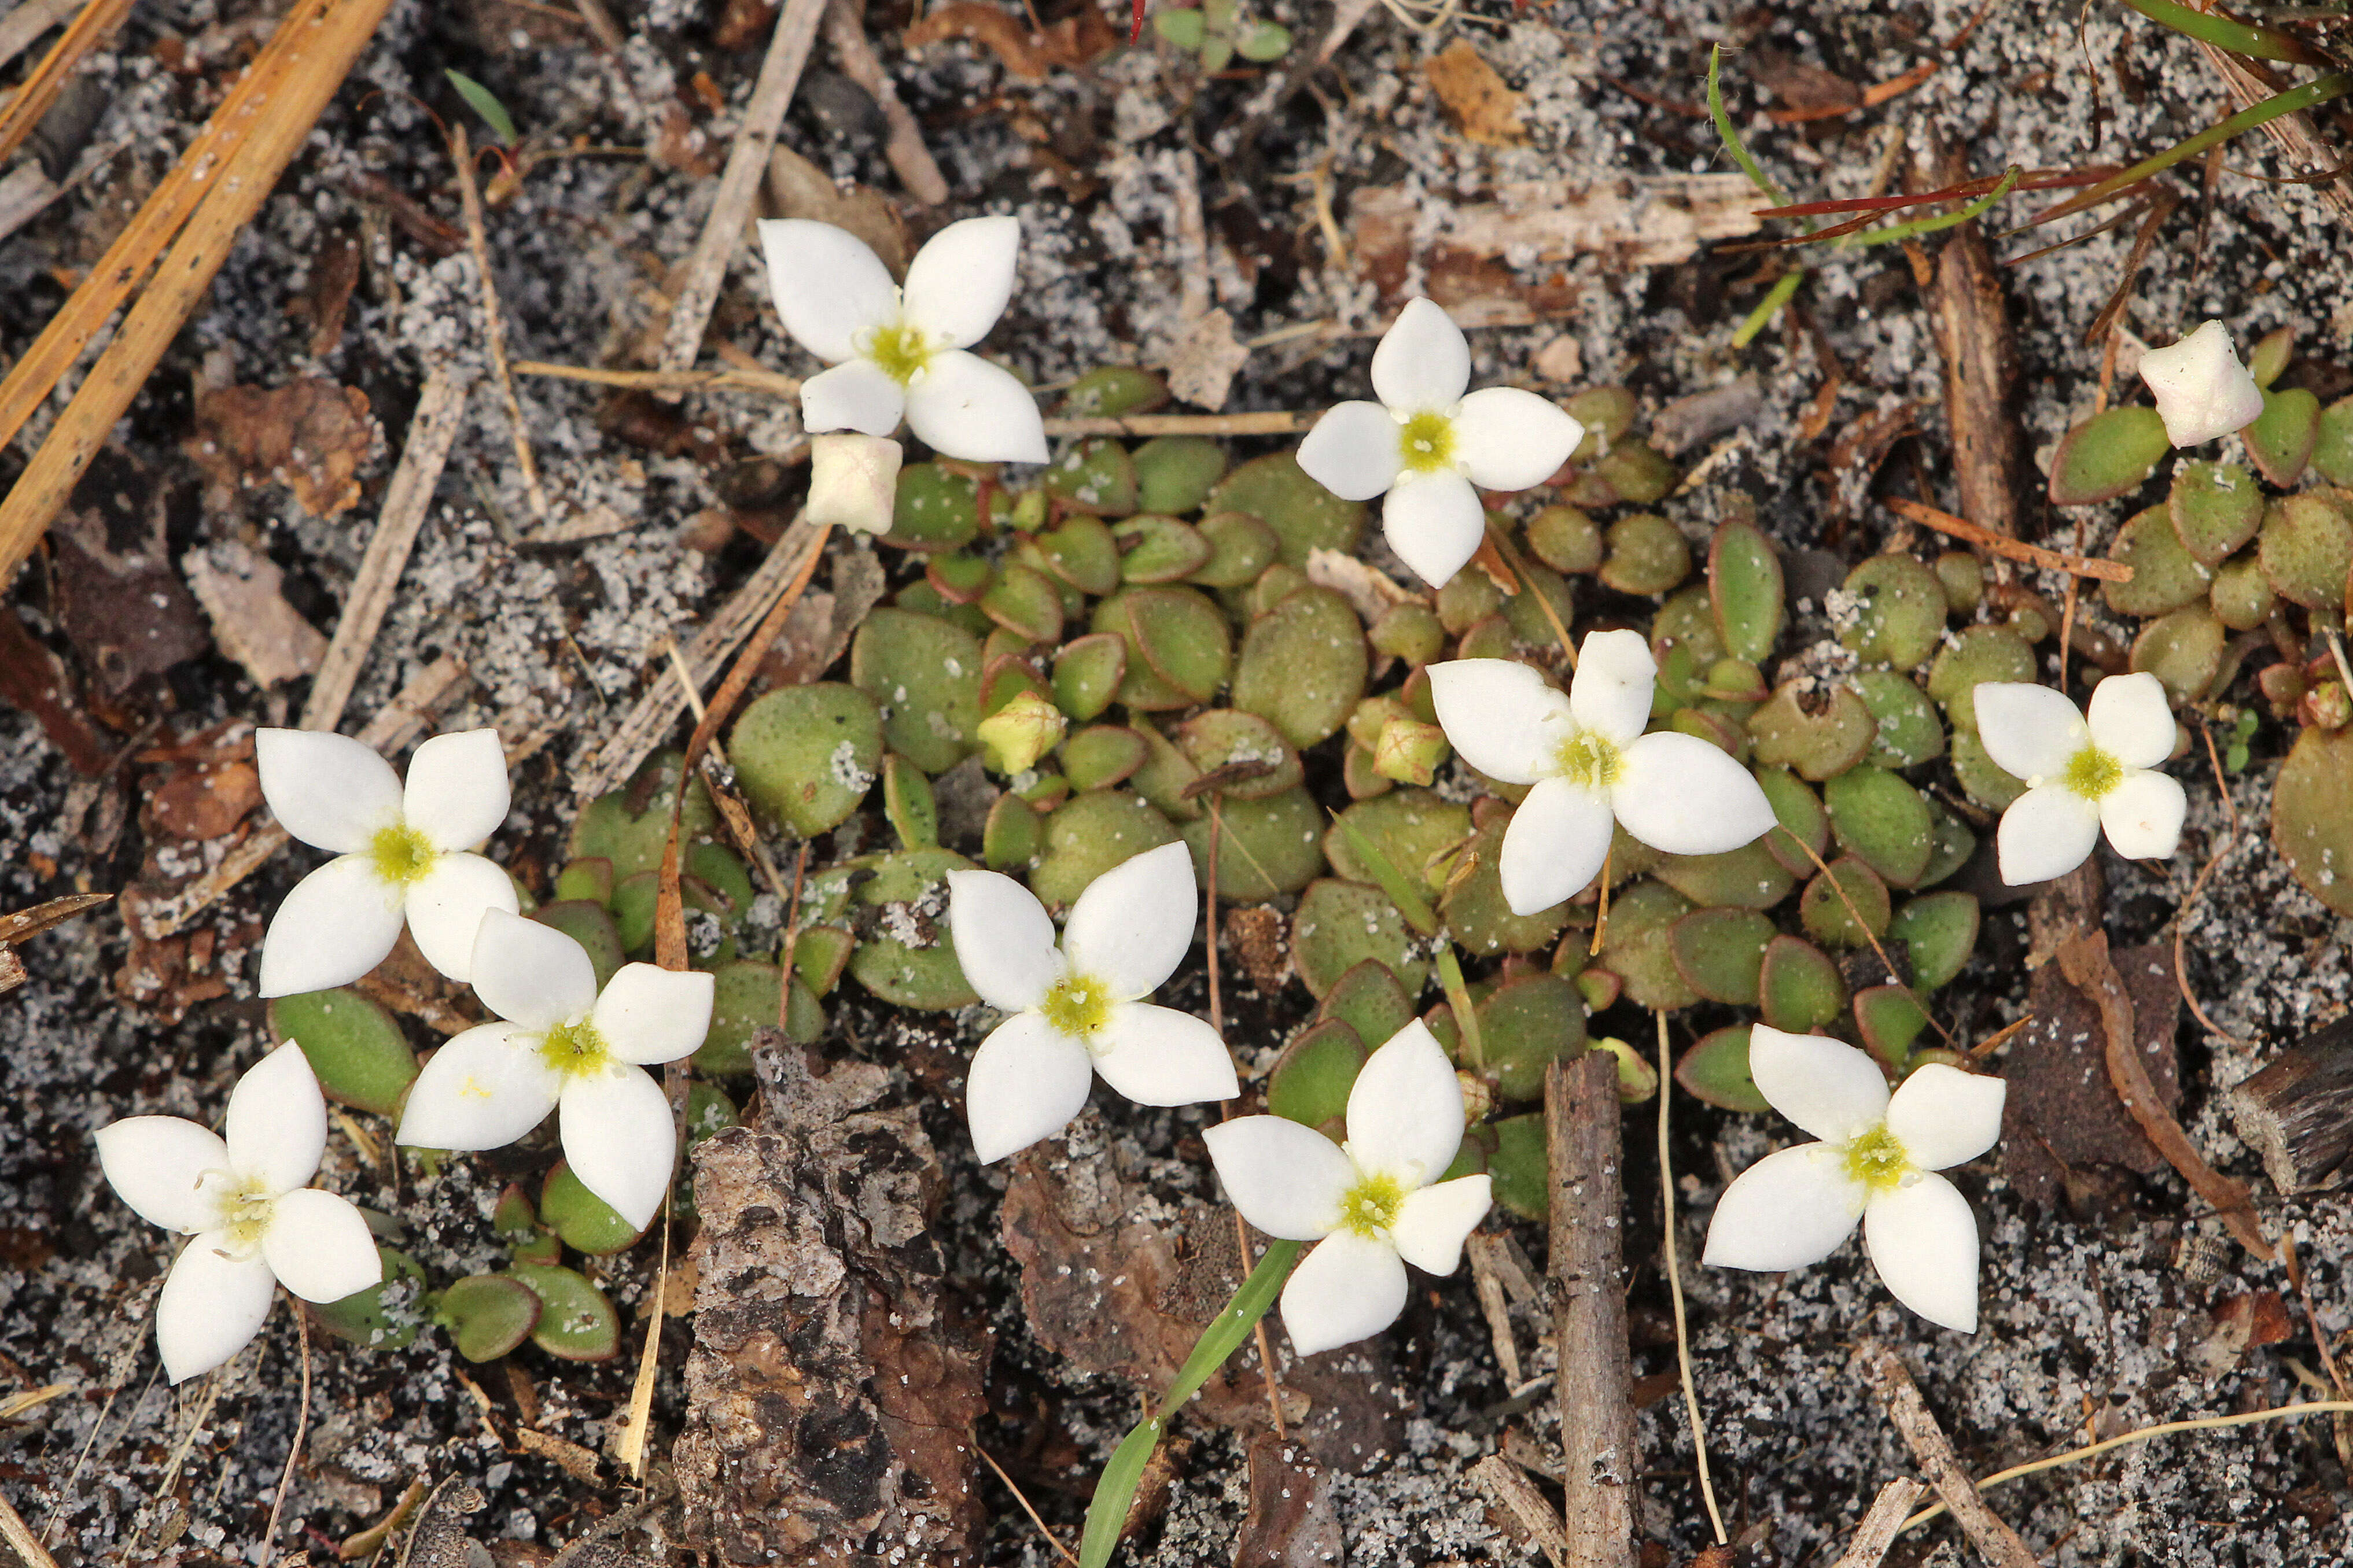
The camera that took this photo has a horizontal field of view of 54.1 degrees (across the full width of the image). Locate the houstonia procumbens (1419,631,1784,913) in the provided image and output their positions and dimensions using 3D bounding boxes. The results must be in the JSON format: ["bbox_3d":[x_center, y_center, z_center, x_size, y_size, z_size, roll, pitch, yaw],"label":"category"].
[{"bbox_3d":[0.813,-0.063,4.474,0.557,0.190,0.496,-15,74,-8],"label":"houstonia procumbens"}]

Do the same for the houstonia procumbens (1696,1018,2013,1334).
[{"bbox_3d":[1.333,0.734,4.461,0.564,0.229,0.593,13,97,6],"label":"houstonia procumbens"}]

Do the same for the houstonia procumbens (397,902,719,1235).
[{"bbox_3d":[-1.193,0.541,4.479,0.503,0.229,0.688,8,46,-9],"label":"houstonia procumbens"}]

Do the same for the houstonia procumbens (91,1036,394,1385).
[{"bbox_3d":[-1.778,0.803,4.566,0.583,0.165,0.631,29,99,9],"label":"houstonia procumbens"}]

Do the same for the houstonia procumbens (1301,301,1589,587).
[{"bbox_3d":[0.508,-0.733,4.616,0.488,0.507,0.146,-10,108,9],"label":"houstonia procumbens"}]

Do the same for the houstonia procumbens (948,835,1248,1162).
[{"bbox_3d":[-0.179,0.392,4.356,0.612,0.664,0.203,20,101,35],"label":"houstonia procumbens"}]

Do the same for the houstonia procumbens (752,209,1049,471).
[{"bbox_3d":[-0.582,-0.939,4.667,0.580,0.551,0.282,10,90,-31],"label":"houstonia procumbens"}]

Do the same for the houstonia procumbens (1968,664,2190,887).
[{"bbox_3d":[1.762,-0.021,4.541,0.377,0.186,0.356,-4,73,-4],"label":"houstonia procumbens"}]
